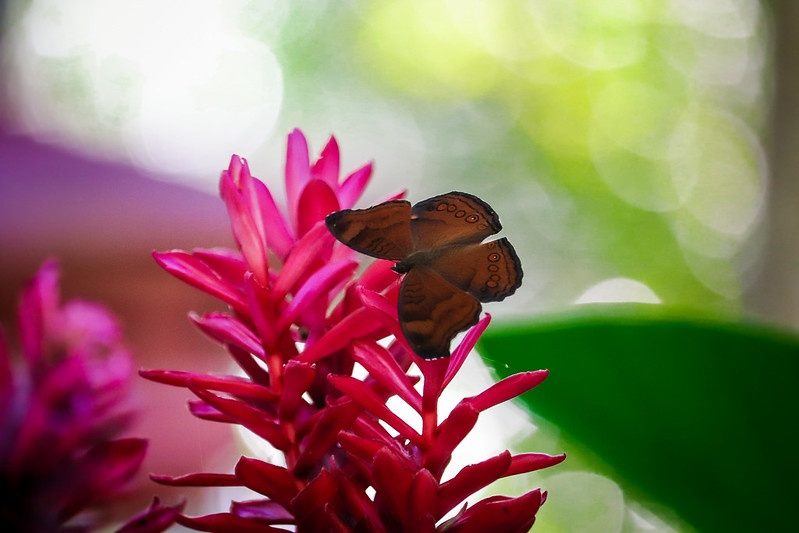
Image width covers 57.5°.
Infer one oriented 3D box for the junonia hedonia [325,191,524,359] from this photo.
[{"bbox_3d":[0.016,0.005,0.706,0.198,0.166,0.072,5,-25,-13],"label":"junonia hedonia"}]
